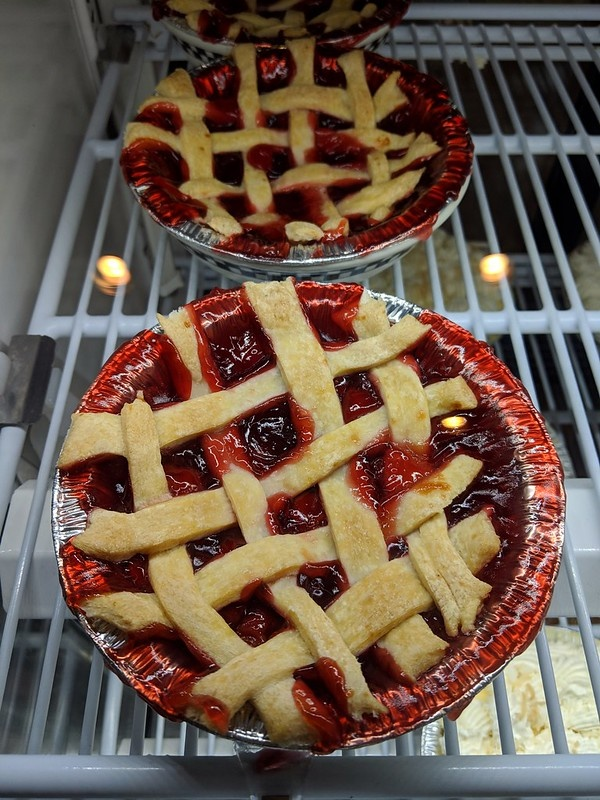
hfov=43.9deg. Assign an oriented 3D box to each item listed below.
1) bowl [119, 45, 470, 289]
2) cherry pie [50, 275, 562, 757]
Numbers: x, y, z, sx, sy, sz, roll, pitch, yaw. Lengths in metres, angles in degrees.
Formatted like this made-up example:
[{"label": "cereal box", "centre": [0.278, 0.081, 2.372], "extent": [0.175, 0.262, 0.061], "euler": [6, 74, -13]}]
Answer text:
[{"label": "bowl", "centre": [-0.004, -0.250, 0.790], "extent": [0.357, 0.084, 0.357], "euler": [-1, 55, 1]}, {"label": "cherry pie", "centre": [0.009, 0.058, 0.526], "extent": [0.358, 0.093, 0.345], "euler": [-18, 57, -11]}]
